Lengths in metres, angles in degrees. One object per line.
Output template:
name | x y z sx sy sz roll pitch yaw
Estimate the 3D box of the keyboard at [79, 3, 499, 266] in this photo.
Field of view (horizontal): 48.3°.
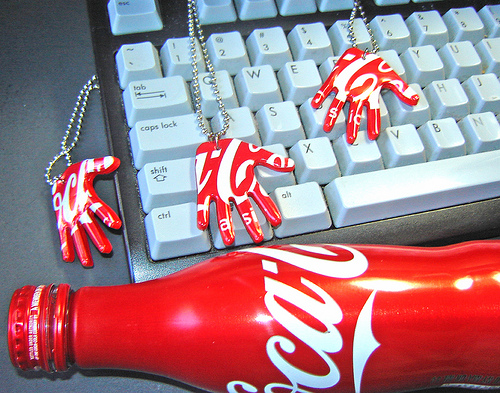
keyboard | 0.075 -0.118 0.665 0.529 0.050 0.331 -8 70 -6
